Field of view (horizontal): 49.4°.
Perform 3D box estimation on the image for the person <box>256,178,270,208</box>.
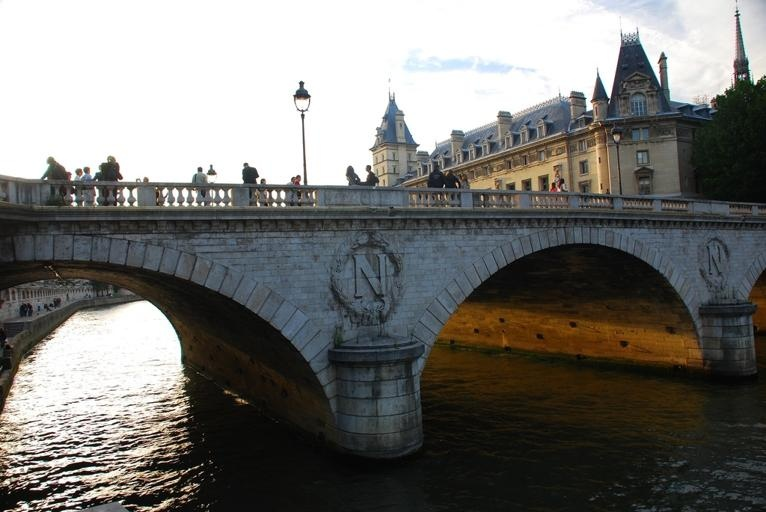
[{"bbox_3d":[-5.300,-2.808,37.291,0.613,1.151,0.542,-9,15,-28],"label":"person"}]
